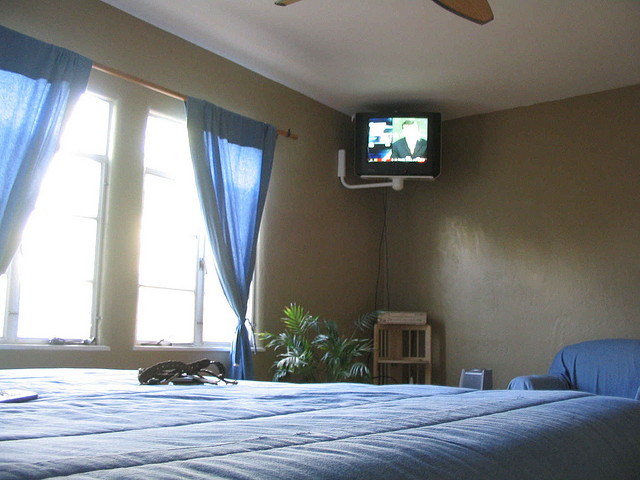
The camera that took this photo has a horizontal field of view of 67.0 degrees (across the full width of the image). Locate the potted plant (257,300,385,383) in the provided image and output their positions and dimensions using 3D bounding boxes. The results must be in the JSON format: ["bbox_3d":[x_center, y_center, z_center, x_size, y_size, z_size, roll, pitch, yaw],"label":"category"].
[{"bbox_3d":[0.025,1.043,4.600,0.858,0.646,0.974,-3,-14,18],"label":"potted plant"}]
